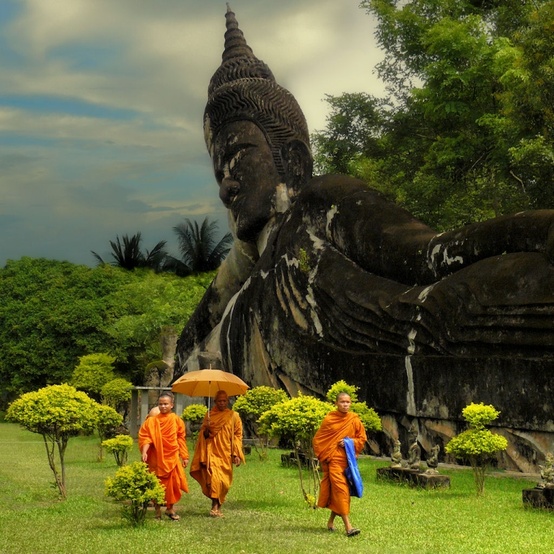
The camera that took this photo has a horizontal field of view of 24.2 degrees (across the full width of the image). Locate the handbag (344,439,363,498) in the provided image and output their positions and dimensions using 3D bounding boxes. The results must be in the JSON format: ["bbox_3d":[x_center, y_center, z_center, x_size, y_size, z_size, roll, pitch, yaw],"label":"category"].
[{"bbox_3d":[1.013,2.496,16.950,0.286,0.759,0.246,-1,-8,25],"label":"handbag"}]

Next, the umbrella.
[{"bbox_3d":[-1.063,1.515,18.887,0.632,0.453,0.664,16,35,6],"label":"umbrella"}]

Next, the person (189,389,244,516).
[{"bbox_3d":[-0.763,2.443,18.159,0.646,1.710,0.654,8,-9,-37],"label":"person"}]

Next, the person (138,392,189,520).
[{"bbox_3d":[-1.546,2.472,17.995,0.702,1.720,0.698,3,-7,-6],"label":"person"}]

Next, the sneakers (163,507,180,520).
[{"bbox_3d":[-1.401,3.245,17.679,0.091,0.137,0.293,1,-7,-44],"label":"sneakers"}]

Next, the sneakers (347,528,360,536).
[{"bbox_3d":[0.988,3.301,16.636,0.172,0.103,0.152,2,-8,3],"label":"sneakers"}]
